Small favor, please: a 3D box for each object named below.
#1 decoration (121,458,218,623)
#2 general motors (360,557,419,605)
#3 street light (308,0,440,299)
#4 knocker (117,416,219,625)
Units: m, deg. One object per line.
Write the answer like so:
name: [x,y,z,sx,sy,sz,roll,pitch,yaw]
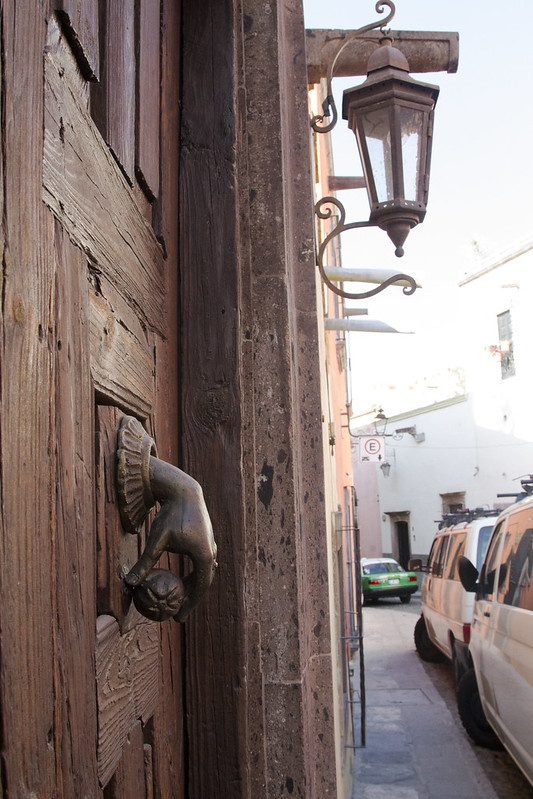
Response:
decoration: [-0.107,0.160,0.933,0.099,0.188,0.102,2,-6,-7]
general motors: [2.746,4.095,18.516,0.866,1.042,2.453,-1,-8,-7]
street light: [0.359,-0.782,2.690,0.397,0.859,0.613,-1,-7,13]
knocker: [-0.117,0.177,0.960,0.094,0.162,0.287,-1,37,-8]
